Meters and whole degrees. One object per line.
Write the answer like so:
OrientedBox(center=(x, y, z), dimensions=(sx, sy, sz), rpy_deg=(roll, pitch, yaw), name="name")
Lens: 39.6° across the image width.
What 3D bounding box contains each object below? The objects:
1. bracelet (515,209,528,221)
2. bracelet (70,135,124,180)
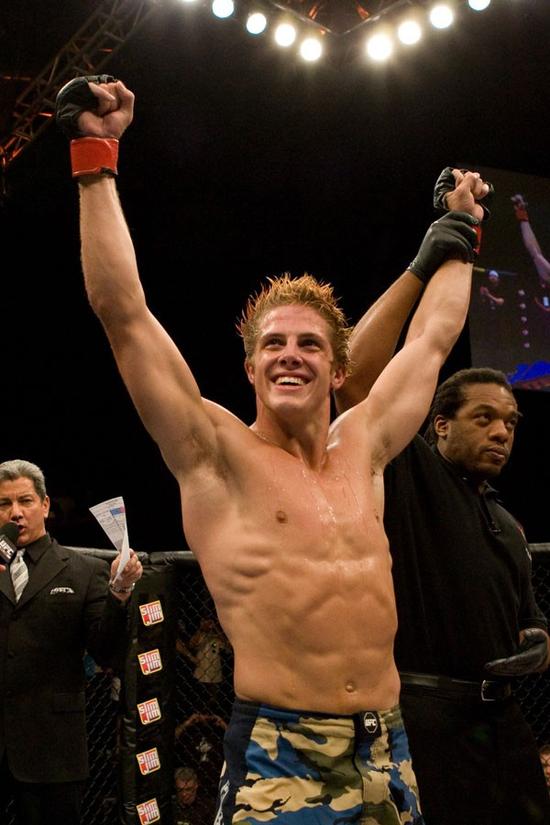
OrientedBox(center=(2.437, -1.954, 7.564), dimensions=(0.119, 0.143, 0.048), rpy_deg=(8, -17, -11), name="bracelet")
OrientedBox(center=(-0.417, -0.603, 1.832), dimensions=(0.130, 0.089, 0.104), rpy_deg=(-1, 0, -36), name="bracelet")
